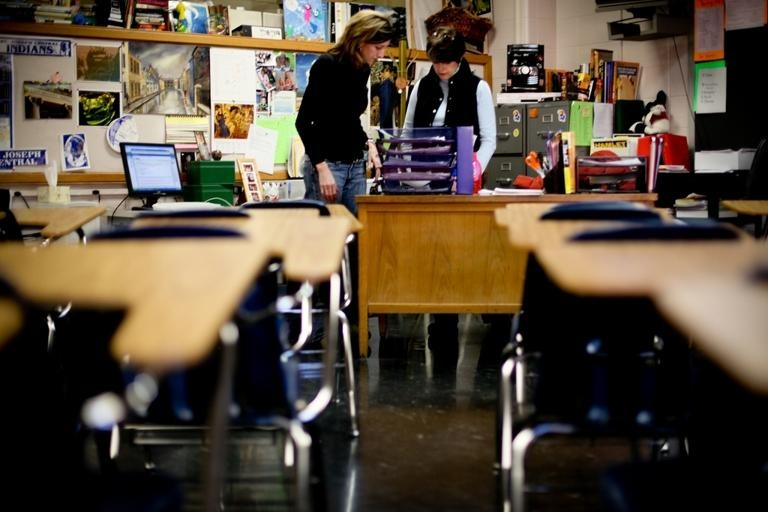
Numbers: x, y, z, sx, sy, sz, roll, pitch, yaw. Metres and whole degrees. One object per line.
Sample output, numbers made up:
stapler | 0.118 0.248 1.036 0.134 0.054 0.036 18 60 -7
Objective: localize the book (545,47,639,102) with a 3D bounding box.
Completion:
book | 2.329 -1.998 7.264 1.022 0.584 0.243 0 8 4

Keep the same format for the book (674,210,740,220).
book | 2.815 -0.367 5.892 0.298 0.069 0.282 1 8 9

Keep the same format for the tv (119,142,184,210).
tv | -1.821 -0.613 5.041 0.300 0.633 0.574 12 15 38

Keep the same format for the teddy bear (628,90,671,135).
teddy bear | 2.884 -1.508 7.011 0.367 0.557 0.412 -2 13 -22
